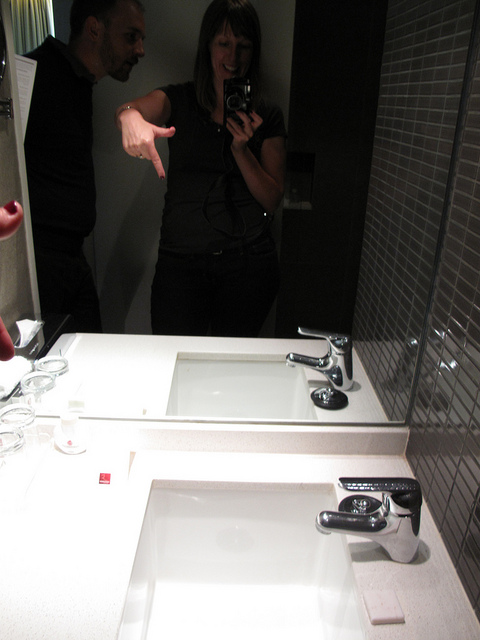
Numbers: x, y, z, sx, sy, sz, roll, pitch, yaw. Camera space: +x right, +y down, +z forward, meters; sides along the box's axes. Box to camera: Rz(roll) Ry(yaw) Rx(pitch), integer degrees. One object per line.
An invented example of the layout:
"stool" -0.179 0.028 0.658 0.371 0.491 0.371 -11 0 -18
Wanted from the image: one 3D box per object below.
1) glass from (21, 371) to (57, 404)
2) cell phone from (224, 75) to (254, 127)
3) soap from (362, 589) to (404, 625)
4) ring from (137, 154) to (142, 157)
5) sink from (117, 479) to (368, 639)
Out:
"glass" -0.433 0.134 0.952 0.046 0.062 0.058 -2 17 -21
"cell phone" -0.005 -0.395 0.815 0.048 0.109 0.056 1 34 2
"soap" 0.211 0.411 0.652 0.052 0.024 0.056 3 30 0
"ring" -0.187 -0.301 0.826 0.006 0.005 0.001 4 23 4
"sink" 0.005 0.460 0.785 0.362 0.242 0.299 2 28 -1
